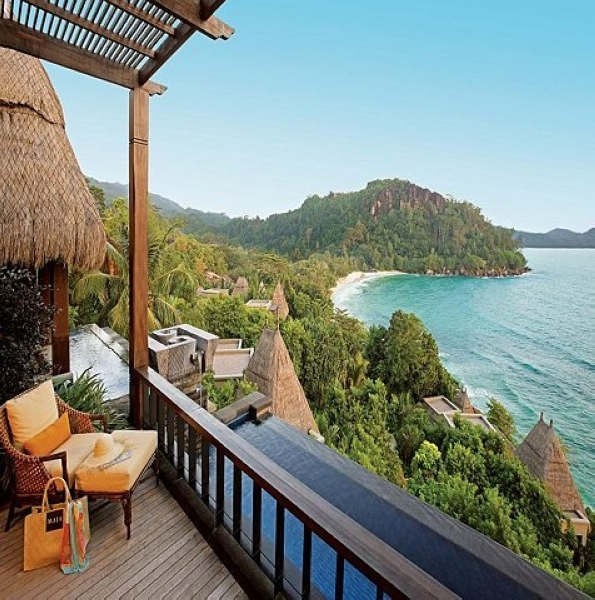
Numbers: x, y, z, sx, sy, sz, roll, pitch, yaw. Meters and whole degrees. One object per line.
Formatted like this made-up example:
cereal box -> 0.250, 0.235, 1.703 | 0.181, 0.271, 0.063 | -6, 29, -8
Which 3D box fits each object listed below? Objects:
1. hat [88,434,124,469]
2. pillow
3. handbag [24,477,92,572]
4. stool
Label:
hat -> -1.367, 1.094, 2.802 | 0.127, 0.081, 0.207 | 4, 9, -1
pillow -> -1.874, 0.882, 2.829 | 0.135, 0.518, 0.407 | -10, 4, 5
handbag -> -1.484, 1.422, 2.490 | 0.364, 0.629, 0.173 | 1, 6, -40
stool -> -1.349, 1.361, 2.984 | 0.378, 0.431, 0.804 | 3, 0, -7
